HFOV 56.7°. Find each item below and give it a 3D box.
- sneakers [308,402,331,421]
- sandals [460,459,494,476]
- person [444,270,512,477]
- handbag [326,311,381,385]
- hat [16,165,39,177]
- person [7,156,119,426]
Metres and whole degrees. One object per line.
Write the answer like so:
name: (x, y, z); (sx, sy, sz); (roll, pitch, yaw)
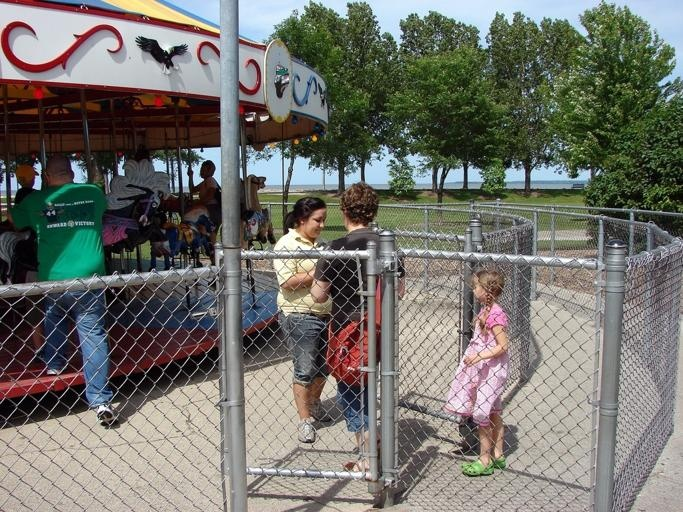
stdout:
sneakers: (-0.196, 1.498, 6.183); (0.235, 0.277, 0.127); (-1, 6, -1)
sandals: (1.120, 1.695, 5.154); (0.198, 0.086, 0.124); (2, 9, -6)
person: (1.161, 0.907, 5.228); (0.508, 1.651, 0.436); (-8, 12, -35)
handbag: (0.089, 0.663, 5.017); (0.302, 0.640, 0.430); (-3, 27, -19)
hat: (-3.978, -1.098, 8.022); (0.185, 0.155, 0.269); (-3, 13, -8)
person: (-2.608, 0.292, 6.119); (0.723, 2.519, 1.288); (-9, 13, -41)
